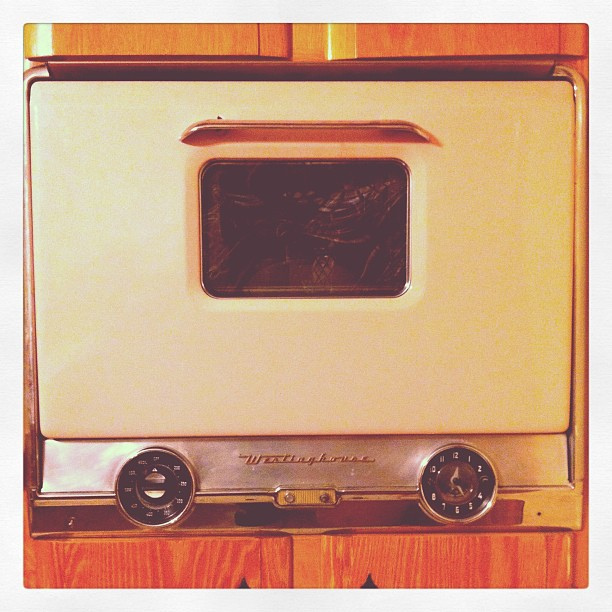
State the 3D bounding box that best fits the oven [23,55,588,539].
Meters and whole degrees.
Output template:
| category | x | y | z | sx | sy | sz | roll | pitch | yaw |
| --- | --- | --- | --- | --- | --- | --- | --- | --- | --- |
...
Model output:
| category | x | y | z | sx | sy | sz | roll | pitch | yaw |
| --- | --- | --- | --- | --- | --- | --- | --- | --- | --- |
| oven | 0.031 | -0.035 | 2.081 | 1.181 | 0.687 | 1.089 | 0 | -92 | -2 |
